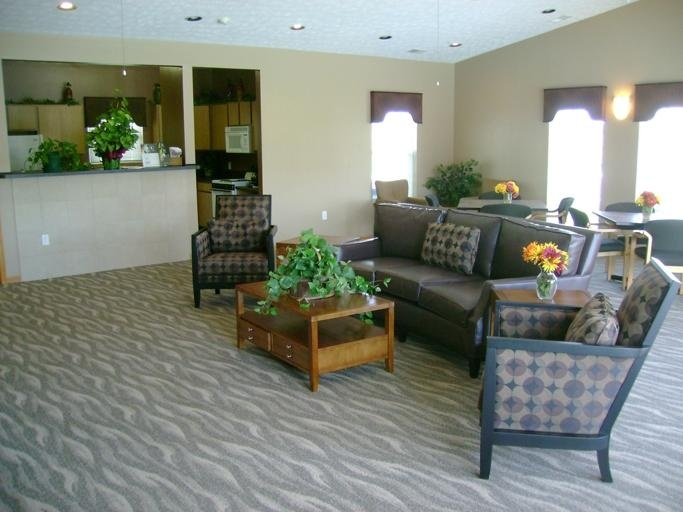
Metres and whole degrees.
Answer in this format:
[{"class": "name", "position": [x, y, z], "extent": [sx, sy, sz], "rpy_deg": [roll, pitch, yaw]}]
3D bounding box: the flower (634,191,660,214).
[{"class": "flower", "position": [3.602, -0.626, 6.237], "extent": [0.214, 0.268, 0.304], "rpy_deg": [9, 15, 33]}]

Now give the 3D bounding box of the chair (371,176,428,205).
[{"class": "chair", "position": [1.014, -1.129, 9.218], "extent": [0.574, 0.749, 0.647], "rpy_deg": [-6, 9, -34]}]

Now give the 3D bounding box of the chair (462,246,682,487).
[{"class": "chair", "position": [1.237, 0.541, 3.667], "extent": [1.338, 1.601, 1.177], "rpy_deg": [2, 10, 8]}]

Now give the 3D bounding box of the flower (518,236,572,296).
[{"class": "flower", "position": [1.488, 0.074, 3.974], "extent": [0.400, 0.449, 0.411], "rpy_deg": [-1, 5, -35]}]

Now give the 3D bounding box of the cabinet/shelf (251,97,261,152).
[{"class": "cabinet/shelf", "position": [-1.366, -2.121, 8.516], "extent": [0.112, 0.862, 0.444], "rpy_deg": [-3, 13, -14]}]

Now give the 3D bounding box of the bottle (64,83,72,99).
[{"class": "bottle", "position": [-5.178, -3.139, 10.022], "extent": [0.156, 0.339, 0.278], "rpy_deg": [-6, 14, -25]}]

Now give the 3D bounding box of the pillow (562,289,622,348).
[{"class": "pillow", "position": [1.401, 0.363, 2.929], "extent": [0.210, 0.209, 0.576], "rpy_deg": [-16, 2, 17]}]

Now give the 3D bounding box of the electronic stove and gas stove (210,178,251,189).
[{"class": "electronic stove and gas stove", "position": [-1.930, -1.266, 9.225], "extent": [0.735, 0.151, 0.369], "rpy_deg": [1, 12, 3]}]

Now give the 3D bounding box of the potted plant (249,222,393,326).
[{"class": "potted plant", "position": [-0.159, 0.135, 4.407], "extent": [1.022, 0.544, 0.645], "rpy_deg": [2, 2, -12]}]

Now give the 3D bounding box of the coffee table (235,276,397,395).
[{"class": "coffee table", "position": [-0.085, 0.371, 4.305], "extent": [0.820, 0.585, 1.202], "rpy_deg": [-4, 10, -38]}]

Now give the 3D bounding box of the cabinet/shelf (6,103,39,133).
[{"class": "cabinet/shelf", "position": [-5.797, -2.537, 9.672], "extent": [0.484, 0.483, 0.233], "rpy_deg": [-8, 15, -33]}]
